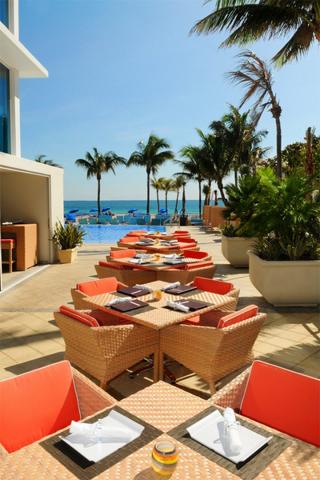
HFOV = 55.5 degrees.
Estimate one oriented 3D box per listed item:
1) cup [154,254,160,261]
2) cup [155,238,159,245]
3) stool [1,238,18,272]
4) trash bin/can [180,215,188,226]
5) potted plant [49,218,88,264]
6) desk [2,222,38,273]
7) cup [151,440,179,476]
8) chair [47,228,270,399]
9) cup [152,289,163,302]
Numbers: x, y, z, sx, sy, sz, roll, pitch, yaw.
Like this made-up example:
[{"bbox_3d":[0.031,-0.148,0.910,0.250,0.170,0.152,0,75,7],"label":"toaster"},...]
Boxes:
[{"bbox_3d":[-0.055,0.344,5.968,0.109,0.139,0.119,0,-2,0],"label":"cup"},{"bbox_3d":[-0.081,0.048,7.987,0.129,0.162,0.137,-1,5,0],"label":"cup"},{"bbox_3d":[-4.378,0.435,8.850,0.369,0.948,0.678,-2,4,-28],"label":"stool"},{"bbox_3d":[1.973,-1.646,25.513,0.635,0.822,0.750,0,3,0],"label":"trash bin/can"},{"bbox_3d":[-3.152,-0.006,10.601,1.030,1.375,0.940,3,11,-1],"label":"potted plant"},{"bbox_3d":[-4.251,0.048,9.569,1.079,1.619,1.617,0,5,2],"label":"desk"},{"bbox_3d":[0.015,0.745,1.034,0.083,0.111,0.086,0,3,0],"label":"cup"},{"bbox_3d":[0.259,0.679,3.563,1.868,1.449,1.327,-10,16,-44],"label":"chair"},{"bbox_3d":[-0.029,0.638,3.493,0.097,0.092,0.101,0,1,0],"label":"cup"}]
